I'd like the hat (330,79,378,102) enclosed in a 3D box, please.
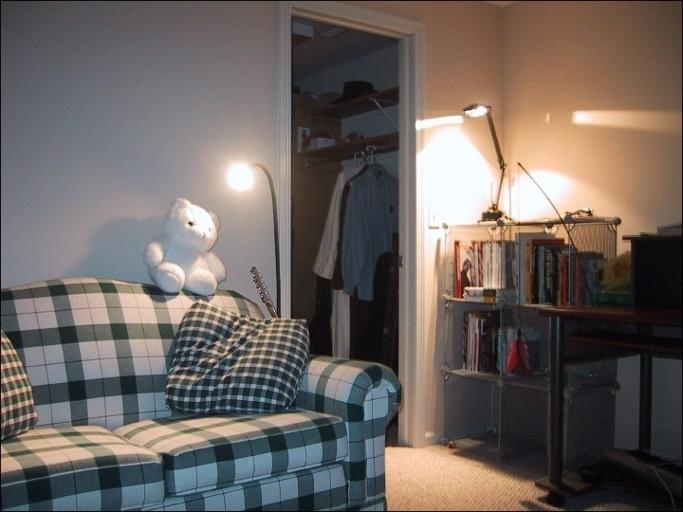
[{"bbox_3d":[0.098,-1.292,4.267,0.340,0.195,0.344,-1,-2,3],"label":"hat"}]

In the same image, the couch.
[{"bbox_3d":[-0.647,0.601,2.411,1.486,1.026,0.837,0,-2,-28],"label":"couch"}]

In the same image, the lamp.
[{"bbox_3d":[0.947,-0.625,3.609,0.275,0.863,0.654,-1,-1,16],"label":"lamp"}]

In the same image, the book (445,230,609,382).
[{"bbox_3d":[1.105,0.290,3.210,0.521,0.924,0.919,3,-2,-34],"label":"book"}]

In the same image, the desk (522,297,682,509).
[{"bbox_3d":[1.410,0.786,2.901,1.045,1.005,0.684,1,-2,-36],"label":"desk"}]

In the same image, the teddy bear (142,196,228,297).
[{"bbox_3d":[-0.770,-0.039,2.798,0.430,0.464,0.301,17,-4,-37],"label":"teddy bear"}]
